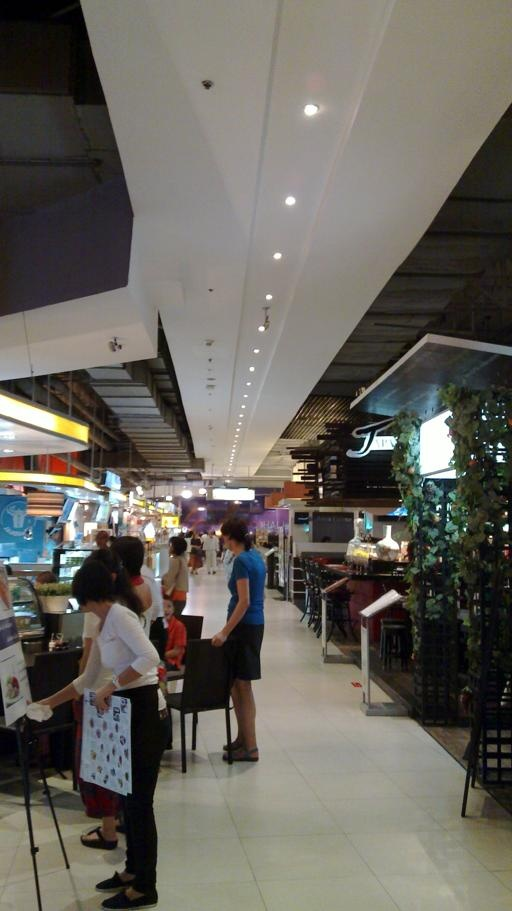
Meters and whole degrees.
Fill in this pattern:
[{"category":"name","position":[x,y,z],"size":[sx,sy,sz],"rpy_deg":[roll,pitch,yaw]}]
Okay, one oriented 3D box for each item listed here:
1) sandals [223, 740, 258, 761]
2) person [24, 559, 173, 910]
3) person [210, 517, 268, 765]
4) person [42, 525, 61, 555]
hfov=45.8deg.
[{"category":"sandals","position":[-0.101,1.769,3.655],"size":[0.175,0.074,0.106],"rpy_deg":[6,-10,-2]},{"category":"person","position":[-0.505,0.888,1.992],"size":[0.413,1.117,0.415],"rpy_deg":[1,-8,-3]},{"category":"person","position":[-0.099,1.127,3.791],"size":[0.287,1.414,0.427],"rpy_deg":[0,-9,4]},{"category":"person","position":[-4.286,1.742,12.741],"size":[0.347,0.771,2.645],"rpy_deg":[4,-10,-19]}]
